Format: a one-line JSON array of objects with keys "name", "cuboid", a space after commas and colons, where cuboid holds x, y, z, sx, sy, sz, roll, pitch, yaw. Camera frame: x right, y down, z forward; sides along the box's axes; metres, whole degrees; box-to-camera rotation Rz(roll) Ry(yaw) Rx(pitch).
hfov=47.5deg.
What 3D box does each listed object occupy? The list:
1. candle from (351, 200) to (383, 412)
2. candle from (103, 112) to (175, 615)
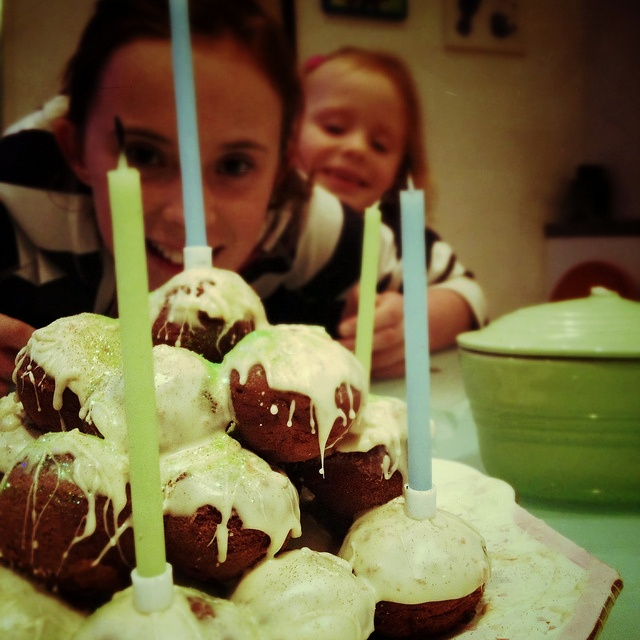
[{"name": "candle", "cuboid": [0.051, -0.035, 0.762, 0.016, 0.174, 0.015, 2, -6, 16]}, {"name": "candle", "cuboid": [-0.123, 0.049, 0.508, 0.052, 0.323, 0.023, 10, 11, 30]}]
